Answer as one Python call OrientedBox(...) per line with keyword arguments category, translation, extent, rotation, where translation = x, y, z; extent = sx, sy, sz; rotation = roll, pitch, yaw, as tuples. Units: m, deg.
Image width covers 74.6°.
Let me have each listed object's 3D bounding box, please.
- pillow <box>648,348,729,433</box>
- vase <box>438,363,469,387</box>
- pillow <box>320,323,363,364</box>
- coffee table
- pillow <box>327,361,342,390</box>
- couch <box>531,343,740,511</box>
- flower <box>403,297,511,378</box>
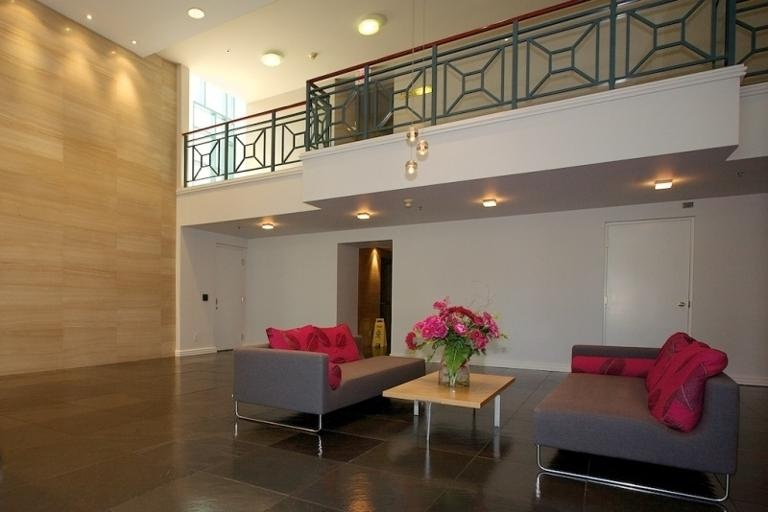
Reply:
OrientedBox(category="pillow", translation=(3.101, 1.280, 5.190), extent=(0.631, 0.788, 0.861), rotation=(4, 9, 29))
OrientedBox(category="vase", translation=(0.866, 1.452, 6.199), extent=(0.289, 0.276, 0.285), rotation=(-1, -10, 17))
OrientedBox(category="pillow", translation=(-0.624, 1.292, 7.310), extent=(0.155, 0.510, 0.563), rotation=(-35, -29, 27))
OrientedBox(category="coffee table", translation=(0.878, 1.835, 6.316), extent=(1.123, 0.662, 1.566), rotation=(4, 8, 29))
OrientedBox(category="pillow", translation=(-0.561, 1.451, 6.057), extent=(0.095, 0.287, 0.230), rotation=(-9, -19, 31))
OrientedBox(category="couch", translation=(2.607, 1.731, 5.338), extent=(1.650, 1.011, 1.804), rotation=(1, 3, 24))
OrientedBox(category="flower", translation=(0.885, 1.070, 6.201), extent=(0.973, 0.939, 0.362), rotation=(-1, 8, -6))
